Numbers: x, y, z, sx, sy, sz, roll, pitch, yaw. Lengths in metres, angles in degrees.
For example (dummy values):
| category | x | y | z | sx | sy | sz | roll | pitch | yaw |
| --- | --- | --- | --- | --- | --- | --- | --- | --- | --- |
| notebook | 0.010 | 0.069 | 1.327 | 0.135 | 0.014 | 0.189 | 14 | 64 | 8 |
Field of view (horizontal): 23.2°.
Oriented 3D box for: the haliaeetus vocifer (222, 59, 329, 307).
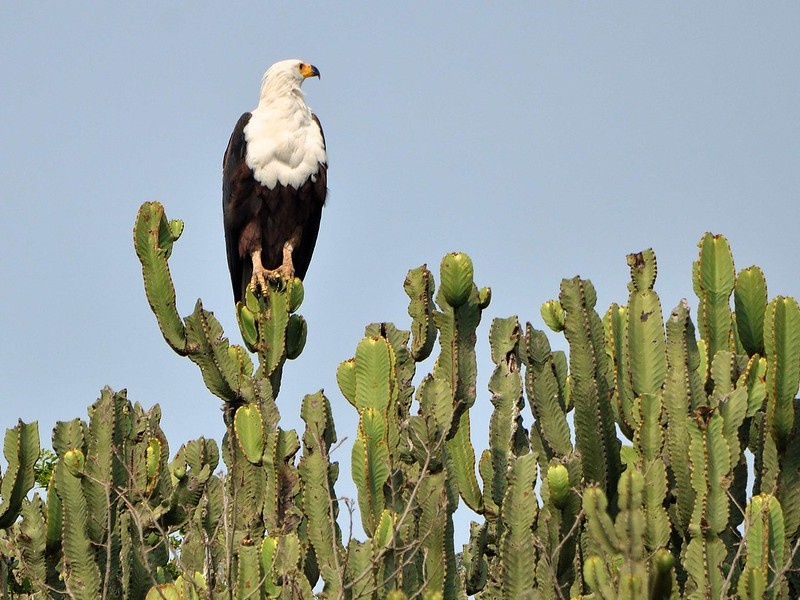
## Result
| category | x | y | z | sx | sy | sz | roll | pitch | yaw |
| --- | --- | --- | --- | --- | --- | --- | --- | --- | --- |
| haliaeetus vocifer | -0.919 | -0.827 | 14.282 | 0.883 | 2.012 | 1.272 | 0 | 0 | -5 |
